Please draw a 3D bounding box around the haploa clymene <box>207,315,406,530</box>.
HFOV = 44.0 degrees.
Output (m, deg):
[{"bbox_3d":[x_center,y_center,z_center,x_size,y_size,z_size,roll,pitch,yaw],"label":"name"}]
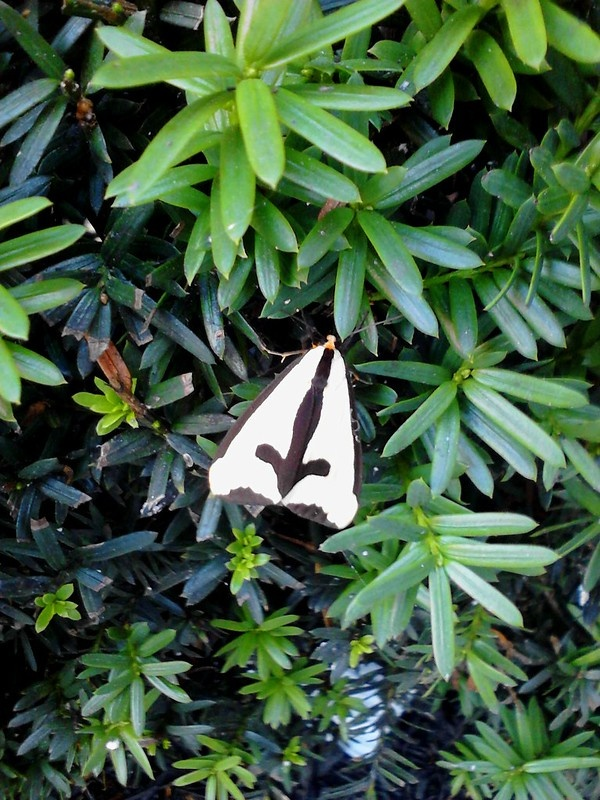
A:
[{"bbox_3d":[0.002,0.037,1.116,0.284,0.295,0.086,18,15,6],"label":"haploa clymene"}]
